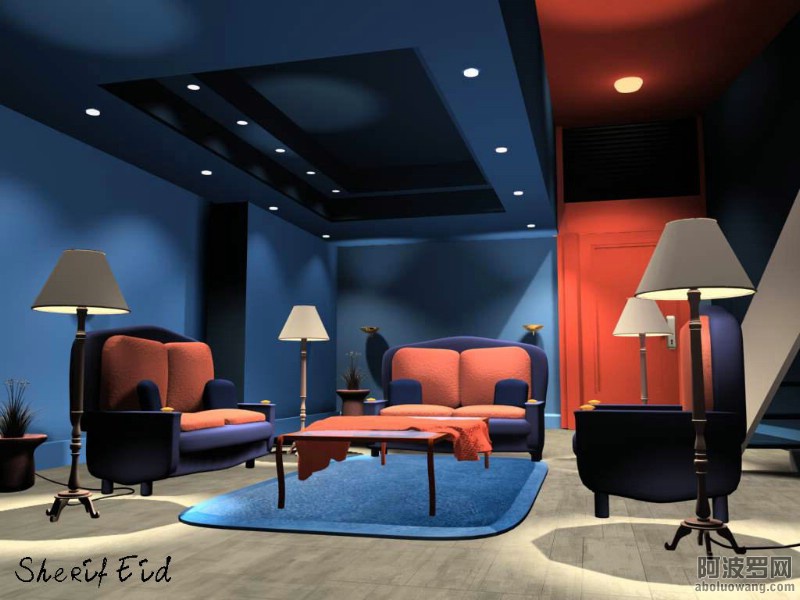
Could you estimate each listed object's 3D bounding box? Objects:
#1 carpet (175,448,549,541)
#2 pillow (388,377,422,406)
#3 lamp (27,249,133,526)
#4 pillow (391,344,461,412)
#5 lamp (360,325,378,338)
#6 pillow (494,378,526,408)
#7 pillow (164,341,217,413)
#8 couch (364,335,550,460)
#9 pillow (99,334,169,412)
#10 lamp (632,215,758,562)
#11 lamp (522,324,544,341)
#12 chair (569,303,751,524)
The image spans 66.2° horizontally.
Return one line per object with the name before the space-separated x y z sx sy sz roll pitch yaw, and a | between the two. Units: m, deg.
carpet | -0.046 1.355 4.446 2.064 0.073 2.512 -1 -4 16
pillow | 0.073 0.914 6.163 0.398 0.342 0.212 0 -7 9
lamp | -2.052 0.502 3.931 0.526 1.619 0.704 2 -4 -28
pillow | 0.378 0.780 6.484 0.958 0.800 0.507 -1 -13 8
lamp | -0.445 0.470 9.095 0.174 0.134 0.186 -2 -5 14
pillow | 1.056 0.879 5.845 0.322 0.254 0.258 -1 -4 11
pillow | -1.756 0.655 5.096 0.257 0.737 0.548 -5 -6 32
couch | 0.633 0.806 6.064 2.031 1.335 1.047 -2 -13 16
pillow | -1.978 0.546 4.523 0.177 0.480 0.527 -10 -12 20
lamp | 1.512 0.407 3.140 0.545 1.677 0.454 -2 -4 29
lamp | 1.877 0.457 8.618 0.242 0.181 0.253 1 -6 1
chair | 1.458 0.655 3.917 1.137 1.425 1.065 0 -8 16
